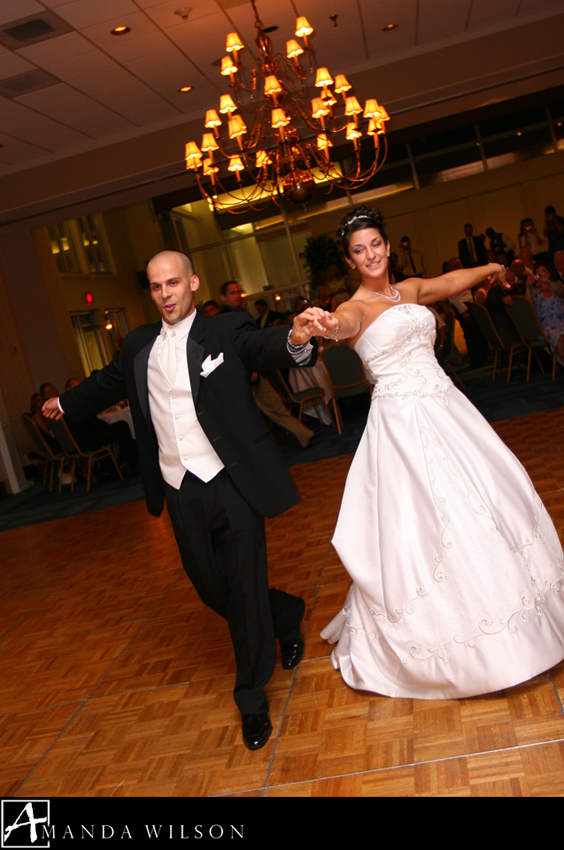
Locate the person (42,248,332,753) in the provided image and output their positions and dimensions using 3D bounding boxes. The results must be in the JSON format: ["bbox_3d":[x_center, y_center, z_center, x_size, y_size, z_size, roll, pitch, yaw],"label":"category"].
[{"bbox_3d":[-0.197,0.241,1.847,0.662,1.296,1.050,-24,11,-16],"label":"person"}]
